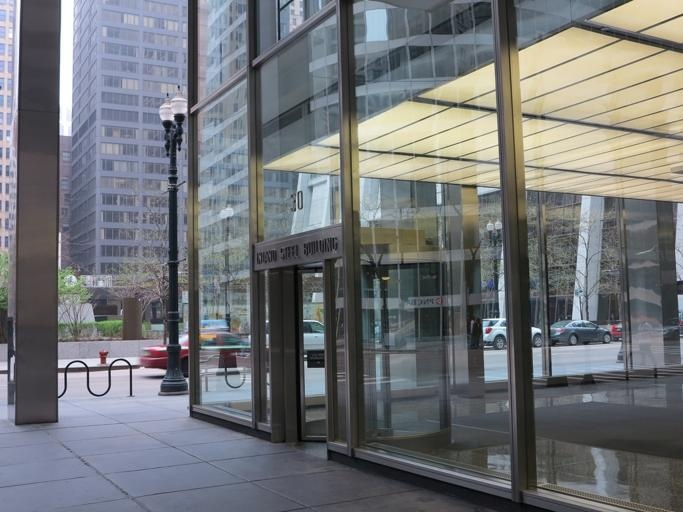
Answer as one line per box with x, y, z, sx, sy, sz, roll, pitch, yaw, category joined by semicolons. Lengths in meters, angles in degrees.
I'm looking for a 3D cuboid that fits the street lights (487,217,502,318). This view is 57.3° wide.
1.721;0.119;6.883;0.042;1.062;0.216;1;-5;-34;street lights

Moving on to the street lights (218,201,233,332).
-2.226;0.193;12.164;0.056;2.396;0.517;1;-5;-32;street lights
